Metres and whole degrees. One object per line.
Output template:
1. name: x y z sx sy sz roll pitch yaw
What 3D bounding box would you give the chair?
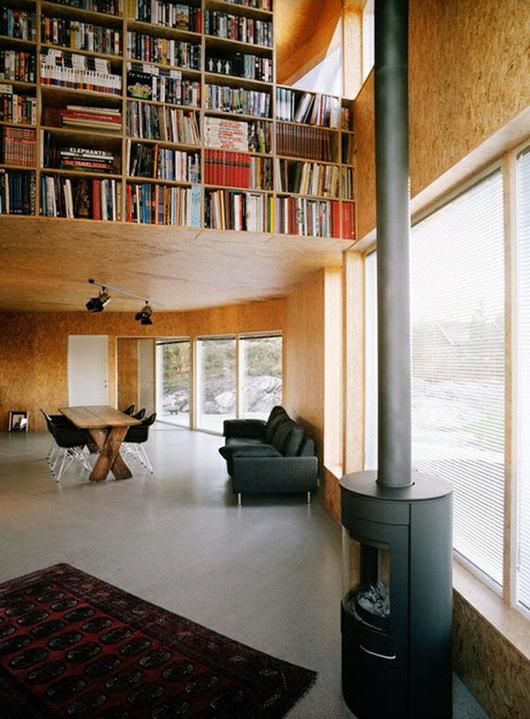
1. chair: -2.179 1.085 7.674 1.299 0.767 2.310 -1 2 -22

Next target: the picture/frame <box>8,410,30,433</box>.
1. picture/frame: -4.765 1.209 11.228 0.338 0.516 0.036 3 -24 -24
